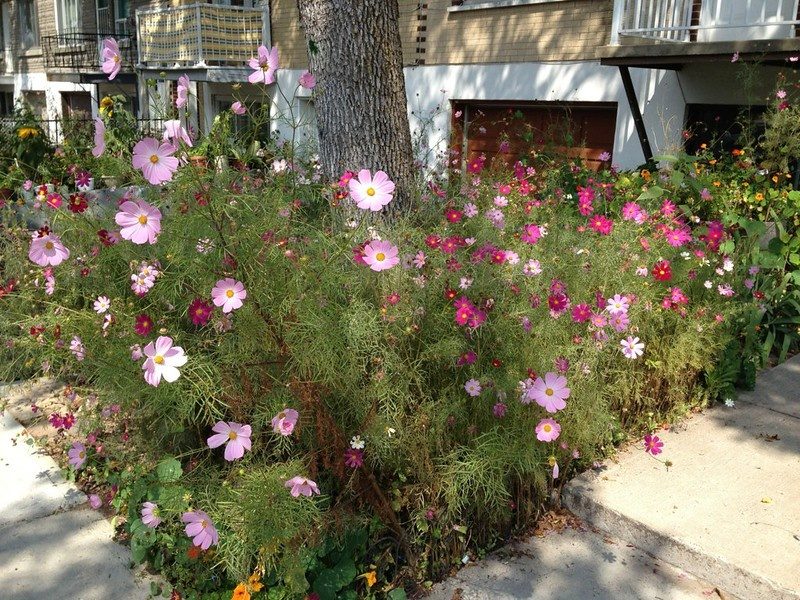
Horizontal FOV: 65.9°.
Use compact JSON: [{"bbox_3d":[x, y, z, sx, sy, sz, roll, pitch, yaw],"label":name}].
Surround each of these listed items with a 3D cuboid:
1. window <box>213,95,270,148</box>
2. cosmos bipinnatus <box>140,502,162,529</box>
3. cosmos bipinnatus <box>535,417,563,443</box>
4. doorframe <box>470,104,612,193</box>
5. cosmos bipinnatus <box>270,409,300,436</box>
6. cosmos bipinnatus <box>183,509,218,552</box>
[{"bbox_3d":[-1.481,-1.645,6.100,0.630,0.883,0.047,-5,-23,-29],"label":"window"},{"bbox_3d":[-1.159,0.984,2.851,0.072,0.125,0.108,-6,15,-26],"label":"cosmos bipinnatus"},{"bbox_3d":[0.729,0.642,3.059,0.113,0.110,0.126,4,15,14],"label":"cosmos bipinnatus"},{"bbox_3d":[1.921,-1.990,7.990,1.778,1.498,0.209,22,37,34],"label":"doorframe"},{"bbox_3d":[-0.507,0.532,2.689,0.122,0.162,0.103,1,13,1],"label":"cosmos bipinnatus"},{"bbox_3d":[-0.865,1.009,2.675,0.059,0.138,0.146,8,49,-34],"label":"cosmos bipinnatus"}]
